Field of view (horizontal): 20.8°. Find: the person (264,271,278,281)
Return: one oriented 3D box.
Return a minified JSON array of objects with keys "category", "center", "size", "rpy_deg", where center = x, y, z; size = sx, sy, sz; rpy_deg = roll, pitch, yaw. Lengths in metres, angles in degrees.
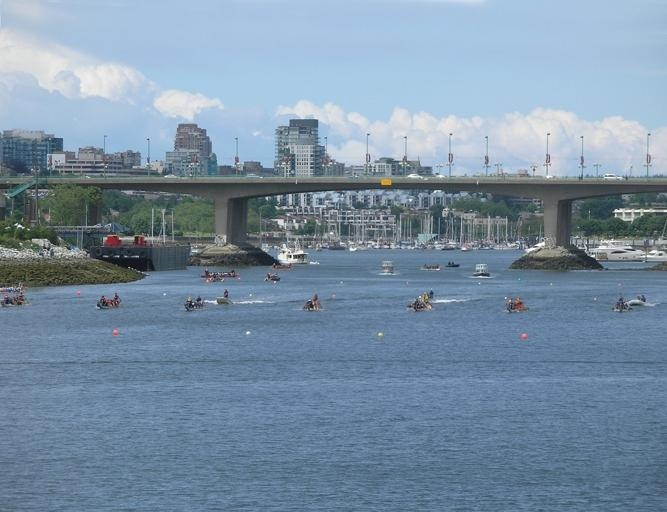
[{"category":"person","center":[-7.211,2.388,209.044],"size":[0.944,0.917,1.659],"rpy_deg":[2,6,2]}]

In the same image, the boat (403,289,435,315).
[{"category":"boat","center":[7.634,4.271,163.236],"size":[1.918,2.208,5.833],"rpy_deg":[0,-1,12]}]

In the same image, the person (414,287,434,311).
[{"category":"person","center":[7.849,4.072,158.385],"size":[1.010,1.151,3.311],"rpy_deg":[2,5,16]}]

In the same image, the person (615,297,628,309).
[{"category":"person","center":[24.740,4.283,156.462],"size":[1.053,1.225,0.445],"rpy_deg":[1,-29,6]}]

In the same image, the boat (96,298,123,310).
[{"category":"boat","center":[-19.700,4.206,157.527],"size":[1.080,1.013,1.915],"rpy_deg":[3,7,29]}]

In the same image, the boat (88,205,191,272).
[{"category":"boat","center":[-23.892,-0.159,229.290],"size":[6.350,5.045,23.003],"rpy_deg":[1,4,18]}]

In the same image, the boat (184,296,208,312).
[{"category":"boat","center":[-12.241,4.187,157.056],"size":[1.002,1.105,2.090],"rpy_deg":[4,8,25]}]

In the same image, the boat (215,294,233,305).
[{"category":"boat","center":[-9.809,4.026,162.976],"size":[1.468,0.670,3.488],"rpy_deg":[-1,4,-5]}]
